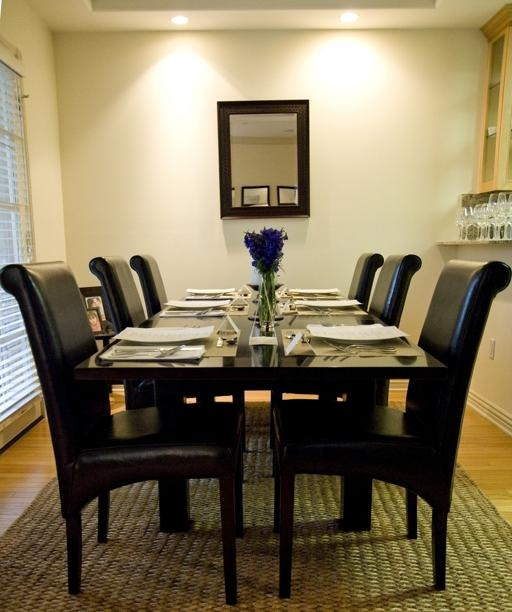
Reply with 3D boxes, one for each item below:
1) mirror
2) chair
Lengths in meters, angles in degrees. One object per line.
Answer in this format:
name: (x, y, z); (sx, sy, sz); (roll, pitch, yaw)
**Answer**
mirror: (0.049, -1.106, 3.497); (0.893, 1.009, 0.052); (-1, 14, -1)
chair: (0.102, 0.253, 1.551); (1.553, 0.930, 0.722); (-1, 10, -1)
